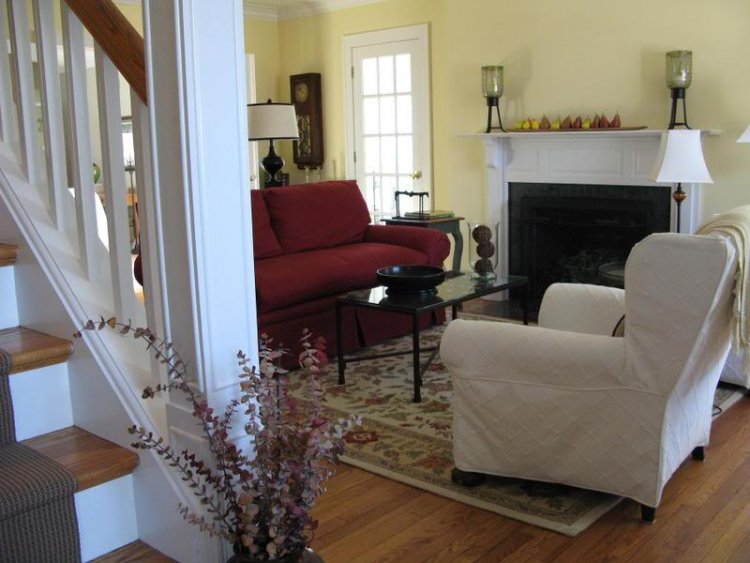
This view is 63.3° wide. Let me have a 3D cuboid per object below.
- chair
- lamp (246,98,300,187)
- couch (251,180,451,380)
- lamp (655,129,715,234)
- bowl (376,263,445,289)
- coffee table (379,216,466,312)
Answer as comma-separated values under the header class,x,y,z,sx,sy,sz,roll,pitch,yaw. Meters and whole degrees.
class,x,y,z,sx,sy,sz,roll,pitch,yaw
chair,0.950,0.205,2.790,1.153,1.133,1.042,4,11,31
lamp,-0.946,-1.255,5.611,0.425,0.811,1.178,-5,14,-10
couch,-0.455,-0.086,4.527,2.153,1.234,1.089,-13,13,-43
lamp,2.085,-0.645,4.113,0.321,0.737,0.832,5,16,28
bowl,0.212,-0.027,3.823,0.408,0.104,0.424,-2,14,0
coffee table,0.458,-0.268,5.635,0.623,0.758,0.600,4,9,31
